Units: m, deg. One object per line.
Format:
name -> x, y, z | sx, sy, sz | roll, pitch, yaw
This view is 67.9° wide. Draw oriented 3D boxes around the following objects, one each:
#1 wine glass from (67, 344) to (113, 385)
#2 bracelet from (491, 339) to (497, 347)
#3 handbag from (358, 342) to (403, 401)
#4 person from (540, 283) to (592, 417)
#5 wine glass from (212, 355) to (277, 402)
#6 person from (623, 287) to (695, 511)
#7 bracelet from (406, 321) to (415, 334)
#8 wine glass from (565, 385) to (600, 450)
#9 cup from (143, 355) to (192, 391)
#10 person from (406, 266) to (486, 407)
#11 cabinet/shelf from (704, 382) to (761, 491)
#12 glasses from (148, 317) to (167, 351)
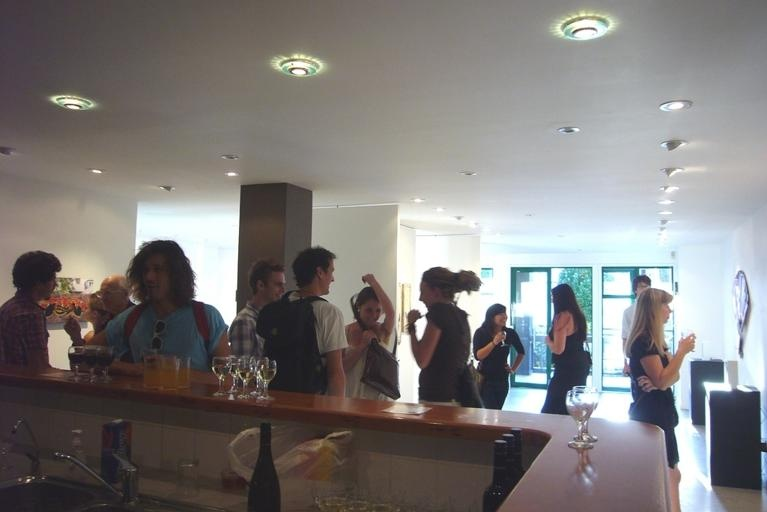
wine glass -> -1.404, 0.524, 2.809 | 0.218, 0.152, 0.213 | 0, -11, 9
bracelet -> 1.012, 0.827, 5.324 | 0.042, 0.042, 0.043 | -3, 9, -3
handbag -> -0.017, 0.675, 3.409 | 0.225, 0.330, 0.198 | 2, -2, 9
person -> 1.428, 0.747, 4.468 | 0.336, 1.043, 0.388 | 2, -2, 16
wine glass -> -0.634, 0.555, 2.641 | 0.283, 0.158, 0.195 | 1, -10, 1
person -> 1.764, 0.909, 3.736 | 0.414, 1.380, 0.657 | 2, -2, 27
bracelet -> 0.177, 0.516, 3.995 | 0.075, 0.065, 0.058 | -3, 2, -18
wine glass -> 0.755, 0.617, 2.187 | 0.116, 0.201, 0.177 | 2, -2, 19
cup -> -0.985, 0.531, 2.585 | 0.205, 0.120, 0.119 | -1, -5, 14
person -> 0.385, 0.491, 3.592 | 0.435, 0.833, 0.674 | 3, -2, 3
cabinet/shelf -> 3.329, 1.759, 5.473 | 0.450, 0.828, 0.867 | -1, -6, 20
glasses -> -1.173, 0.412, 2.937 | 0.087, 0.132, 0.046 | 2, -2, 24
